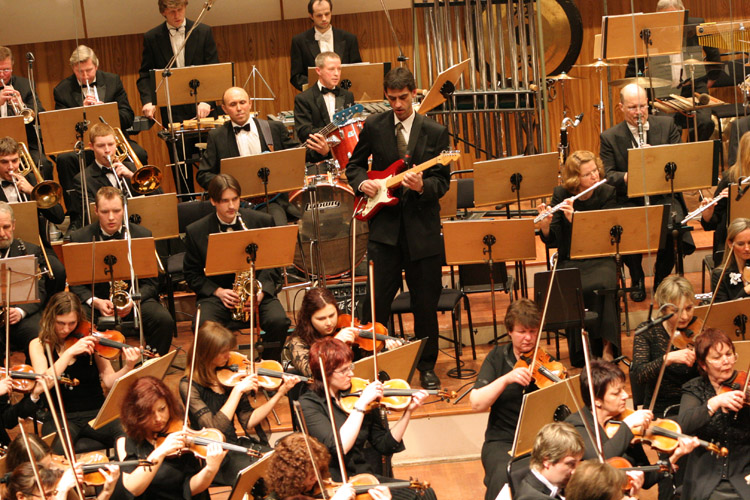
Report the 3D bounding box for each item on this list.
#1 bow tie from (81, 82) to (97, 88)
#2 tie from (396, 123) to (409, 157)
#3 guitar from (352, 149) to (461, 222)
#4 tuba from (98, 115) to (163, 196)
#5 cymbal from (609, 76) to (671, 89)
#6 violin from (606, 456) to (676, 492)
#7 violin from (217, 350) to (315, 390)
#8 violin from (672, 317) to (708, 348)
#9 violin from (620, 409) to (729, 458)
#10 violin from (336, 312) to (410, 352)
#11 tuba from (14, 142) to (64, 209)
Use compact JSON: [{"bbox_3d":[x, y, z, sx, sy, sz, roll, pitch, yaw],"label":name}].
[{"bbox_3d":[-3.246,-1.876,8.683,0.168,0.061,0.115,-7,5,-20],"label":"bow tie"},{"bbox_3d":[0.234,-0.954,6.679,0.101,0.303,0.041,-8,6,14],"label":"tie"},{"bbox_3d":[0.244,-0.554,6.586,0.891,0.526,0.451,-5,4,-2],"label":"guitar"},{"bbox_3d":[-2.529,-0.909,8.021,0.595,0.857,0.543,-10,23,-29],"label":"tuba"},{"bbox_3d":[2.999,-1.871,8.540,0.331,0.086,0.347,4,5,-9],"label":"cymbal"},{"bbox_3d":[1.694,1.430,4.945,0.601,0.283,0.107,-3,-9,2],"label":"violin"},{"bbox_3d":[-0.842,0.942,5.839,0.678,0.111,0.299,10,43,-13],"label":"violin"},{"bbox_3d":[2.480,0.660,6.075,0.177,0.209,0.317,-1,6,41],"label":"violin"},{"bbox_3d":[2.007,1.329,5.316,0.666,0.289,0.116,17,-22,31],"label":"violin"},{"bbox_3d":[-0.029,0.691,6.389,0.668,0.122,0.279,16,19,-9],"label":"violin"},{"bbox_3d":[-3.398,-0.751,7.790,0.462,0.365,0.917,-27,41,-5],"label":"tuba"}]
